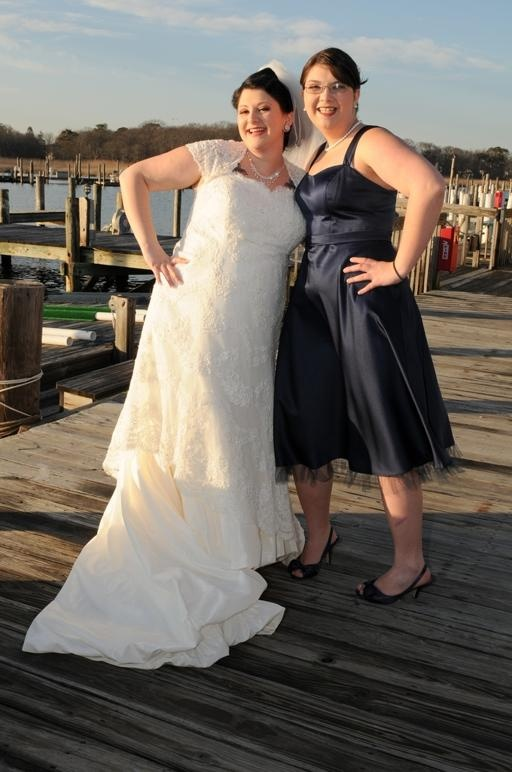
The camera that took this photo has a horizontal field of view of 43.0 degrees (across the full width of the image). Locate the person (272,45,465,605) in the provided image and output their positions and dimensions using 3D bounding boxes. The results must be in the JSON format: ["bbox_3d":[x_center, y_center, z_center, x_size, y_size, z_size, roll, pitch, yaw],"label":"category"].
[{"bbox_3d":[0.344,-0.127,2.042,0.608,1.715,0.326,8,14,18],"label":"person"}]

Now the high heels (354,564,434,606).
[{"bbox_3d":[0.483,0.664,2.227,0.310,0.135,0.100,-1,12,-9],"label":"high heels"}]

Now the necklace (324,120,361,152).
[{"bbox_3d":[0.257,-0.751,1.964,0.100,0.092,0.077,6,13,11],"label":"necklace"}]

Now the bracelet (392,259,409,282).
[{"bbox_3d":[0.412,-0.331,1.898,0.016,0.057,0.063,-27,26,-12],"label":"bracelet"}]

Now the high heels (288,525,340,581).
[{"bbox_3d":[0.205,0.593,2.388,0.098,0.132,0.274,8,22,43],"label":"high heels"}]
